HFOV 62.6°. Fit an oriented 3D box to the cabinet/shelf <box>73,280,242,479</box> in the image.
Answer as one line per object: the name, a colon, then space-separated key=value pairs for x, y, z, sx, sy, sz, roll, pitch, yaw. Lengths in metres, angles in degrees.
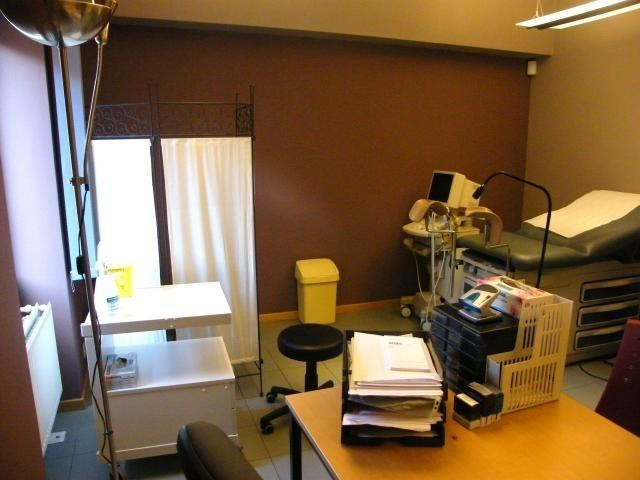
cabinet/shelf: x=-0.923 y=0.780 z=3.546 sx=1.046 sy=1.121 sz=1.044 roll=-4 pitch=13 yaw=-13

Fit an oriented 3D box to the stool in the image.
stool: x=-0.095 y=0.803 z=3.671 sx=0.717 sy=0.714 sz=0.657 roll=6 pitch=17 yaw=16

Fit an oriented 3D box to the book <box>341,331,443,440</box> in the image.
book: x=0.308 y=0.631 z=2.259 sx=0.443 sy=0.406 sz=0.361 roll=-3 pitch=11 yaw=5

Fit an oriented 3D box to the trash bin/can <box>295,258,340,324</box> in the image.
trash bin/can: x=-0.034 y=0.501 z=4.920 sx=0.389 sy=0.604 sz=0.315 roll=-5 pitch=11 yaw=-6
